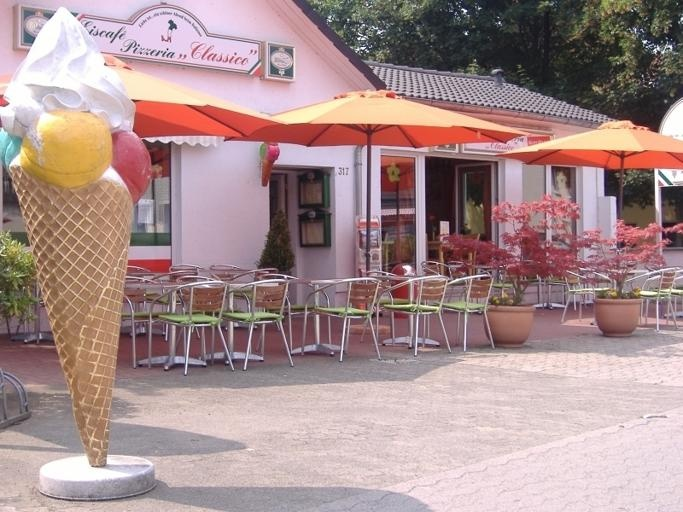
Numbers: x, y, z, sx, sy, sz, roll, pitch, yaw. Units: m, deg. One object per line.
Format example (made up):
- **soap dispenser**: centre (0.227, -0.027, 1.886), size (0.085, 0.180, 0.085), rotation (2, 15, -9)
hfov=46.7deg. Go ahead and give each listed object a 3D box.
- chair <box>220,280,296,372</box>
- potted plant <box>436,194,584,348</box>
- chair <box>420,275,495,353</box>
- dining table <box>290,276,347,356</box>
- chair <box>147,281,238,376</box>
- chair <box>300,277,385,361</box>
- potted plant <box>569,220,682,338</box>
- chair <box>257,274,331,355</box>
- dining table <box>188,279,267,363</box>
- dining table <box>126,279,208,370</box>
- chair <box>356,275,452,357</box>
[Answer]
- **chair**: centre (-0.995, 0.755, 9.136), size (0.857, 0.835, 0.759), rotation (0, 3, 4)
- **potted plant**: centre (2.322, 0.208, 10.877), size (1.547, 1.850, 1.805), rotation (6, -2, 13)
- **chair**: centre (1.725, 0.763, 10.898), size (0.842, 0.976, 0.912), rotation (-4, -13, 32)
- **dining table**: centre (-0.302, 0.808, 10.239), size (0.861, 0.855, 0.824), rotation (0, 1, -29)
- **chair**: centre (-1.665, 0.767, 8.881), size (1.031, 0.853, 0.912), rotation (0, -4, -5)
- **chair**: centre (0.037, 0.762, 9.876), size (0.815, 0.905, 0.811), rotation (-2, -8, 33)
- **potted plant**: centre (4.800, 0.463, 13.264), size (2.213, 1.827, 1.733), rotation (1, -7, -3)
- **chair**: centre (-0.609, 0.826, 10.549), size (0.924, 0.970, 0.820), rotation (-11, -3, 27)
- **dining table**: centre (-1.343, 0.817, 9.656), size (1.010, 0.954, 0.954), rotation (1, 0, -1)
- **dining table**: centre (-2.024, 0.831, 9.301), size (0.911, 0.968, 0.885), rotation (-6, -1, -18)
- **chair**: centre (0.962, 0.748, 10.270), size (0.849, 0.901, 0.811), rotation (4, -2, -36)
